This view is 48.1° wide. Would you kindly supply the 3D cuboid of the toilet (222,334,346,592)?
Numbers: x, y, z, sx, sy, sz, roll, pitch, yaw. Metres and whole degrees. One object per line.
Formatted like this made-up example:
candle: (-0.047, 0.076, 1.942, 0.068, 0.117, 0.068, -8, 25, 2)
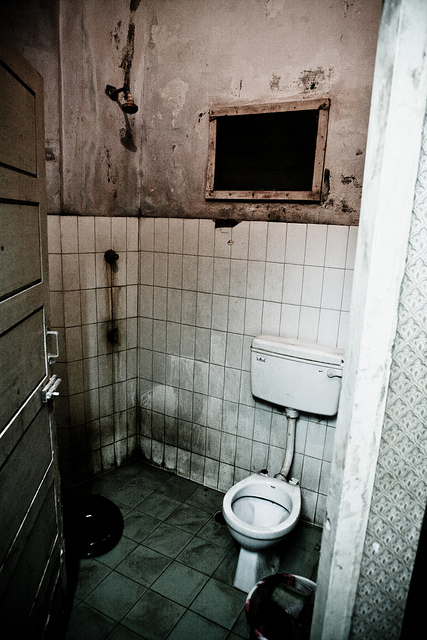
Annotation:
toilet: (0.280, 0.723, 2.287, 0.338, 1.147, 0.617, 12, 14, 24)
